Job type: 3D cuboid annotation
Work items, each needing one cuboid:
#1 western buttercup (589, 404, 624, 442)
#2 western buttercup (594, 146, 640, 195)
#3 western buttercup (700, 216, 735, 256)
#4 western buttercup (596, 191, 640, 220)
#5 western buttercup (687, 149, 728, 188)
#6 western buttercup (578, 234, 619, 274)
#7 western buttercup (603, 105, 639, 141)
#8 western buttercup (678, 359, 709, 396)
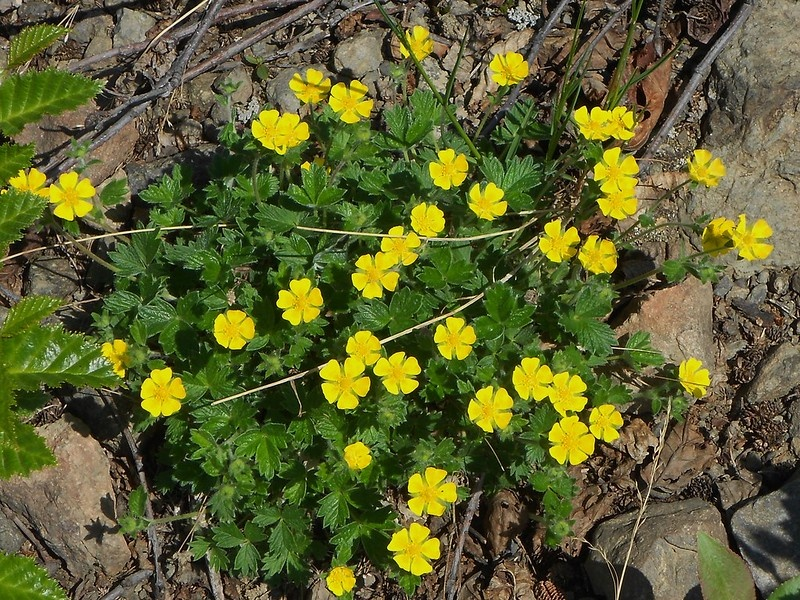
[{"bbox_3d":[1.311,0.762,5.006,0.202,0.076,0.230,35,-86,6],"label":"western buttercup"},{"bbox_3d":[1.358,-0.797,4.967,0.276,0.286,0.094,36,-15,-5],"label":"western buttercup"},{"bbox_3d":[2.056,-0.417,5.075,0.220,0.123,0.238,20,-81,-7],"label":"western buttercup"},{"bbox_3d":[1.377,-0.603,4.977,0.231,0.160,0.164,-3,-45,9],"label":"western buttercup"},{"bbox_3d":[1.993,-0.875,5.132,0.258,0.135,0.282,31,-2,14],"label":"western buttercup"},{"bbox_3d":[1.286,-0.319,5.169,0.304,0.317,0.112,38,-76,6],"label":"western buttercup"},{"bbox_3d":[1.454,-1.128,5.077,0.225,0.235,0.088,-1,-19,3],"label":"western buttercup"},{"bbox_3d":[1.943,0.499,5.190,0.221,0.253,0.118,4,-5,0],"label":"western buttercup"}]
